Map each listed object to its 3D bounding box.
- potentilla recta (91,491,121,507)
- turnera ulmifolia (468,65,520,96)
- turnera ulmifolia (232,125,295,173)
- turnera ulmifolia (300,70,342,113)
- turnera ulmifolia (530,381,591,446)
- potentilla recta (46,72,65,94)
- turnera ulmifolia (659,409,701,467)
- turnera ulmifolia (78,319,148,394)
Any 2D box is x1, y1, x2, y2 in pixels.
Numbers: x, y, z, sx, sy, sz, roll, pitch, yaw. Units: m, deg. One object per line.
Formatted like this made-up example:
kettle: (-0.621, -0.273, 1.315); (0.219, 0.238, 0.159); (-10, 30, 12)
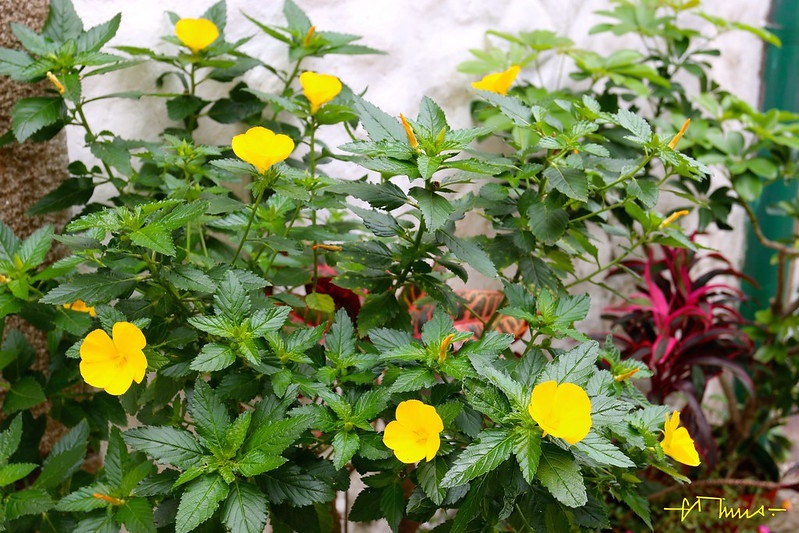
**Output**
potentilla recta: (-0.705, 0.561, 1.709); (0.069, 0.019, 0.050); (14, -10, -16)
turnera ulmifolia: (0.277, -0.499, 2.024); (0.134, 0.139, 0.068); (7, -49, 54)
turnera ulmifolia: (-0.337, -0.288, 1.806); (0.128, 0.130, 0.116); (11, 19, 32)
turnera ulmifolia: (-0.232, -0.470, 1.961); (0.128, 0.112, 0.121); (5, 3, 8)
turnera ulmifolia: (0.359, 0.320, 1.576); (0.140, 0.131, 0.068); (44, -13, 4)
potentilla recta: (-0.975, -0.519, 2.010); (0.076, 0.021, 0.048); (49, -7, 37)
turnera ulmifolia: (0.697, 0.425, 1.777); (0.089, 0.119, 0.158); (8, -10, 17)
turnera ulmifolia: (-0.678, 0.208, 1.685); (0.163, 0.173, 0.079); (-1, -3, 7)
